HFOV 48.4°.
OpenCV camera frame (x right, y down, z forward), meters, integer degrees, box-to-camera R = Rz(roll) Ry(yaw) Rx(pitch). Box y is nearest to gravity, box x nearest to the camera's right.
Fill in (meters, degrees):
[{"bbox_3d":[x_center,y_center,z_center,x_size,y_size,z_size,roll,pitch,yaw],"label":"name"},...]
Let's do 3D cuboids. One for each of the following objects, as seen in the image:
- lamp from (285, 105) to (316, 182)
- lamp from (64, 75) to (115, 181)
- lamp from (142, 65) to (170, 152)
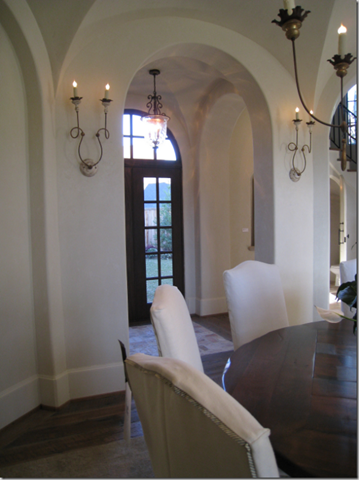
[{"bbox_3d":[0.993,-0.778,3.348,0.120,0.578,0.219,-11,20,-30],"label":"lamp"},{"bbox_3d":[-0.564,-0.714,2.545,0.268,0.626,0.204,3,7,-21],"label":"lamp"},{"bbox_3d":[-0.260,-1.327,4.302,0.246,0.803,0.836,4,7,-3],"label":"lamp"}]
